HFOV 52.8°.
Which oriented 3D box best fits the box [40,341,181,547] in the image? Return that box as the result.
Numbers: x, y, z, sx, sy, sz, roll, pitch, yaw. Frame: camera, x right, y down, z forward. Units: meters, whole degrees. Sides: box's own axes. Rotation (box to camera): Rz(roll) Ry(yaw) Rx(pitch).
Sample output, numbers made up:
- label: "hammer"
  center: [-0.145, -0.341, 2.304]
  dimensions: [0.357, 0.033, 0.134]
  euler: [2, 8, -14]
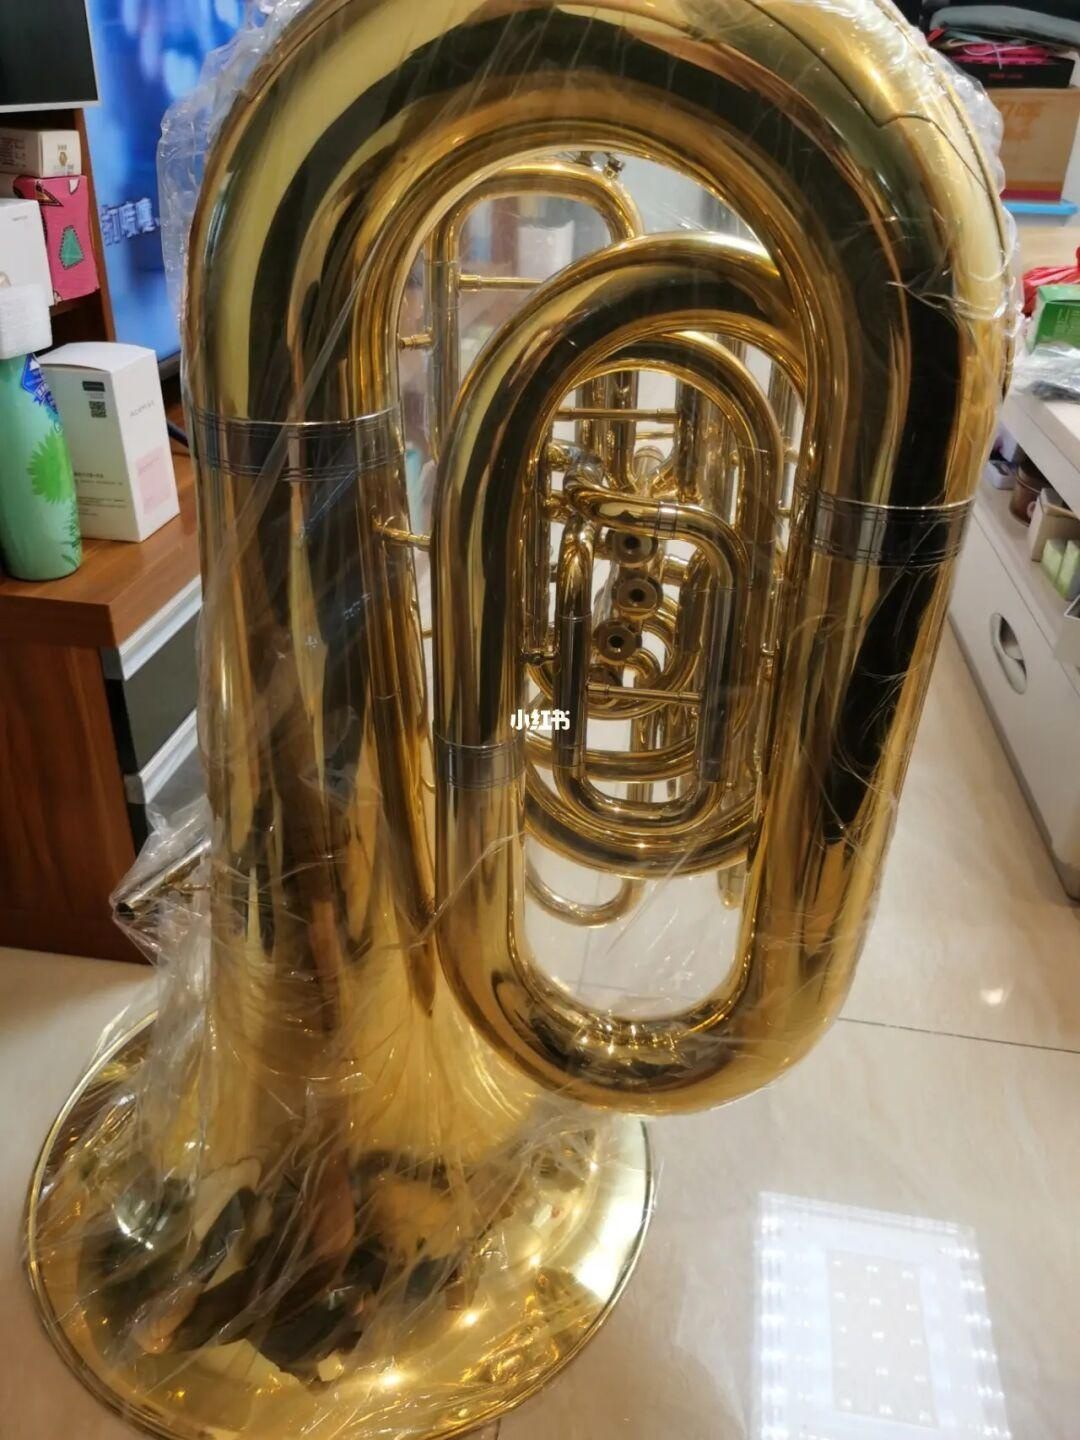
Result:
- label: "box"
  center: [-0.413, -0.270, 1.044]
  dimensions: [0.093, 0.168, 0.094]
  euler: [2, 28, 2]
